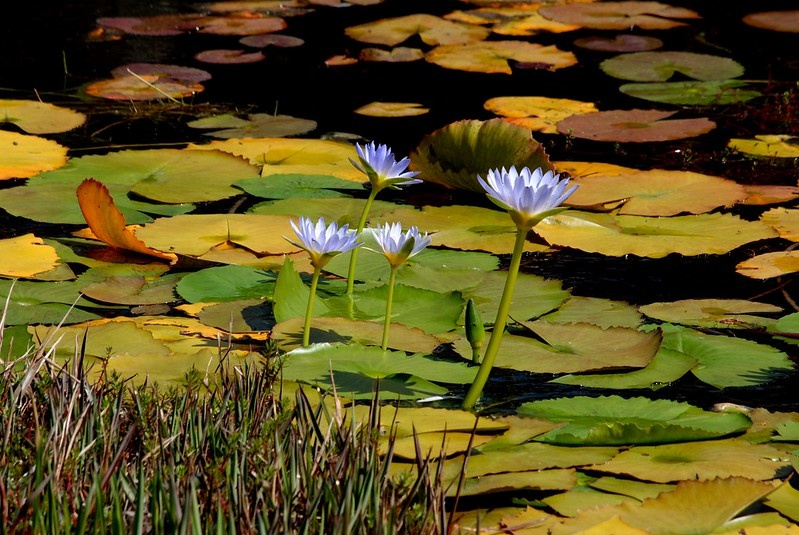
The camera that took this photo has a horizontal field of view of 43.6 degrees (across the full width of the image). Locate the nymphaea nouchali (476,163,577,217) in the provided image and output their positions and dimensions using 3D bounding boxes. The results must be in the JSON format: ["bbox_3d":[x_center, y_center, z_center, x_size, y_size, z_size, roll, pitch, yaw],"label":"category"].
[{"bbox_3d":[0.451,-0.275,3.411,0.361,0.085,0.271,2,-3,10],"label":"nymphaea nouchali"}]

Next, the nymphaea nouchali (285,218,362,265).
[{"bbox_3d":[-0.295,-0.080,3.578,0.249,0.065,0.181,5,-3,10],"label":"nymphaea nouchali"}]
